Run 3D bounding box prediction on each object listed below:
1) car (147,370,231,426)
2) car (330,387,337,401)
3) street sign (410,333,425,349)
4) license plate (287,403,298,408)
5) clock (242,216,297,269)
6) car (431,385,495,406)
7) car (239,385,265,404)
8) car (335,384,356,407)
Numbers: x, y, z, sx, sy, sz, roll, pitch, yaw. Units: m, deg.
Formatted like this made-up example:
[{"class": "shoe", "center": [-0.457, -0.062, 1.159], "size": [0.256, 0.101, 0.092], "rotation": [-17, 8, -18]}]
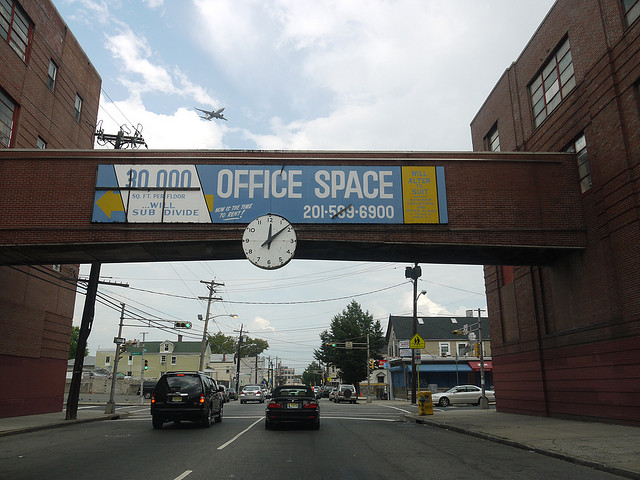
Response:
[{"class": "car", "center": [-5.081, 6.377, 22.461], "size": [1.973, 1.413, 3.696], "rotation": [-1, -12, 3]}, {"class": "car", "center": [1.317, 16.077, 56.917], "size": [1.063, 0.936, 2.161], "rotation": [1, -7, 1]}, {"class": "street sign", "center": [5.577, 5.821, 31.385], "size": [0.660, 0.740, 0.894], "rotation": [0, -18, 1]}, {"class": "license plate", "center": [-1.010, 6.175, 20.387], "size": [0.347, 0.156, 0.065], "rotation": [5, -19, -13]}, {"class": "clock", "center": [-1.918, 0.083, 20.723], "size": [2.013, 2.143, 0.349], "rotation": [0, -20, -1]}, {"class": "car", "center": [10.785, 11.924, 41.809], "size": [4.067, 1.469, 2.399], "rotation": [-4, -19, 11]}, {"class": "car", "center": [-5.727, 13.086, 46.061], "size": [1.668, 1.477, 2.670], "rotation": [1, -18, -2]}, {"class": "car", "center": [2.252, 14.625, 51.976], "size": [1.395, 1.280, 2.677], "rotation": [1, -9, -4]}]
